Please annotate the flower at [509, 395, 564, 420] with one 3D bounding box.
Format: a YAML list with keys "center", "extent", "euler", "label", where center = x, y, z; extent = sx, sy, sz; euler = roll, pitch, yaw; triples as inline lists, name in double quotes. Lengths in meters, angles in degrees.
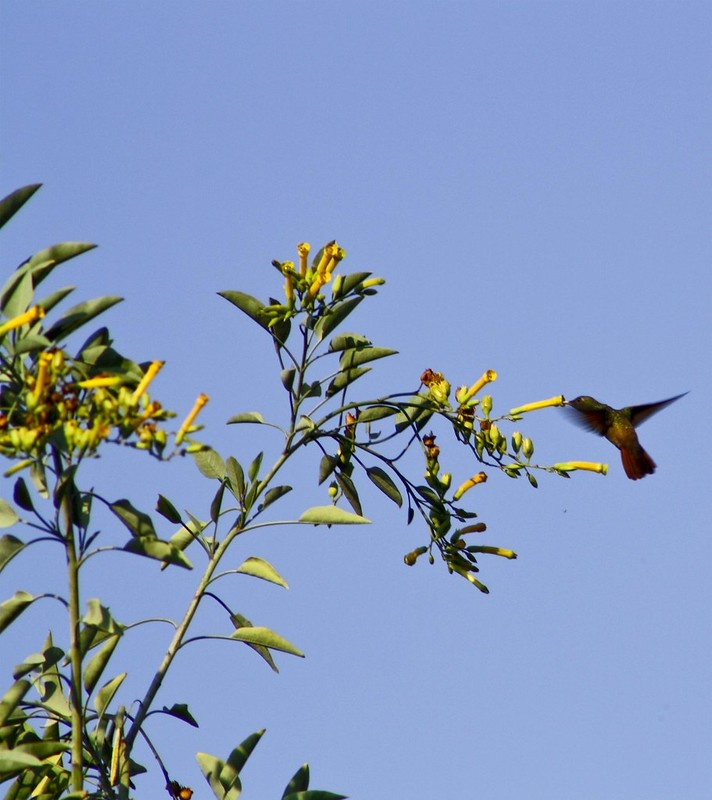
- center: [0.503, 0.022, 4.943]
  extent: [0.121, 0.040, 0.035]
  euler: [-22, -16, 6]
  label: "flower"

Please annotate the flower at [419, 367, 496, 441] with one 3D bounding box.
- center: [0.328, -0.025, 6.092]
  extent: [0.212, 0.227, 0.158]
  euler: [35, -34, 11]
  label: "flower"
